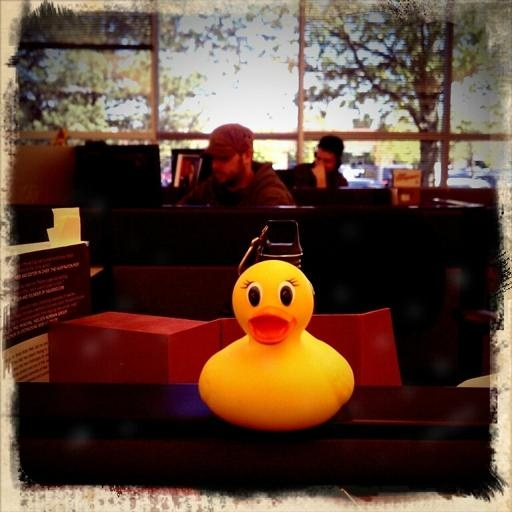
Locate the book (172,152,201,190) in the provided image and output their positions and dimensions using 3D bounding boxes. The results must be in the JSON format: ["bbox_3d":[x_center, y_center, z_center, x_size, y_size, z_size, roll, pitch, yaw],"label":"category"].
[{"bbox_3d":[-0.470,-0.584,4.424,0.243,0.271,0.068,5,2,36],"label":"book"}]

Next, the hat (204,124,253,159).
[{"bbox_3d":[-0.122,-0.533,2.915,0.212,0.150,0.202,-1,13,-1],"label":"hat"}]

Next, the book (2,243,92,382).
[{"bbox_3d":[-0.368,0.102,1.101,0.066,0.209,0.213,1,7,4],"label":"book"}]

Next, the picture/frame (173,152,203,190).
[{"bbox_3d":[-0.459,-0.584,4.432,0.246,0.271,0.067,5,1,38],"label":"picture/frame"}]

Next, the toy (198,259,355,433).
[{"bbox_3d":[0.026,0.116,0.860,0.204,0.220,0.204,1,7,-1],"label":"toy"}]

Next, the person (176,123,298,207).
[{"bbox_3d":[-0.095,-0.419,3.016,0.678,0.422,0.393,9,15,39],"label":"person"}]
